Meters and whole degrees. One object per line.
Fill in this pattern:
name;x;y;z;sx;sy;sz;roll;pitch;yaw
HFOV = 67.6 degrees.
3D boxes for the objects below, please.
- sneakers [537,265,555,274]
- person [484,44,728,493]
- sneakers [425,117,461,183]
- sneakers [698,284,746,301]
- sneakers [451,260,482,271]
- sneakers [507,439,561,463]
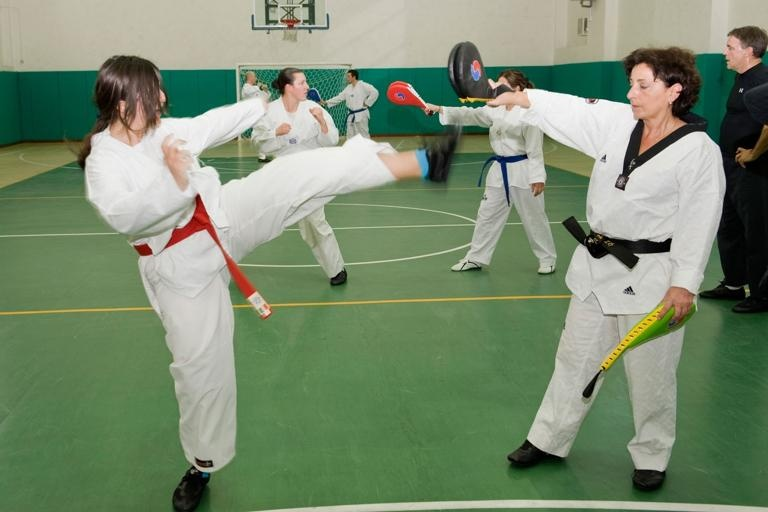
sneakers;2.073;0.173;7.383;0.246;0.106;0.088;-3;4;-31
person;1.517;0.099;3.809;1.115;2.789;0.965;9;21;31
sneakers;0.308;-0.573;3.336;0.168;0.425;0.135;19;-13;-32
sneakers;3.858;0.396;6.641;0.555;0.244;0.209;2;-1;12
sneakers;1.050;0.123;7.606;0.440;0.194;0.155;1;16;-6
sneakers;1.089;1.407;4.120;0.413;0.192;0.158;2;8;-11
